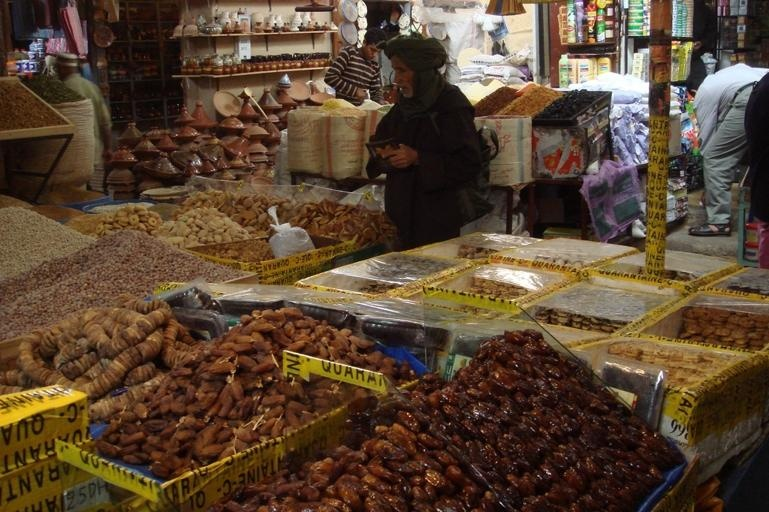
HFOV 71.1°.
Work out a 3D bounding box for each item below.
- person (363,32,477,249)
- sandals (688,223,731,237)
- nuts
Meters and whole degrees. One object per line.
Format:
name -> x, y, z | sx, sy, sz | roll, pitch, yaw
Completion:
person -> 0.274, -0.739, 3.534 | 0.801, 1.263, 0.690 | 14, 26, 28
sandals -> 3.897, -0.308, 6.440 | 0.412, 0.130, 0.182 | 3, 7, 8
nuts -> -0.344, 0.350, 1.426 | 0.431, 0.151, 0.584 | 14, 27, 39
